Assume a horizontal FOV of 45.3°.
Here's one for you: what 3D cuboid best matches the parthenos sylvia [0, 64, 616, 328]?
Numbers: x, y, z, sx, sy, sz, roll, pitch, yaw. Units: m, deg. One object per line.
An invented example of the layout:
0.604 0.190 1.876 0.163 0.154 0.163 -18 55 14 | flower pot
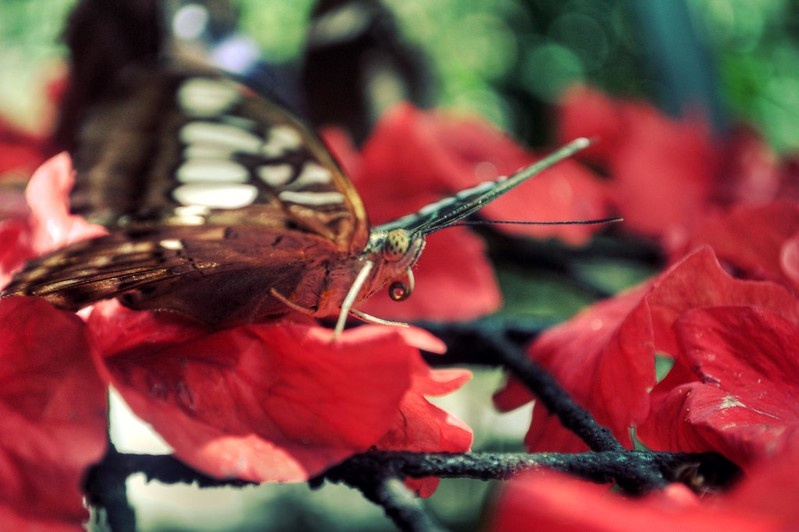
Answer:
-0.197 -0.050 1.013 0.375 0.142 0.327 5 1 -15 | parthenos sylvia
